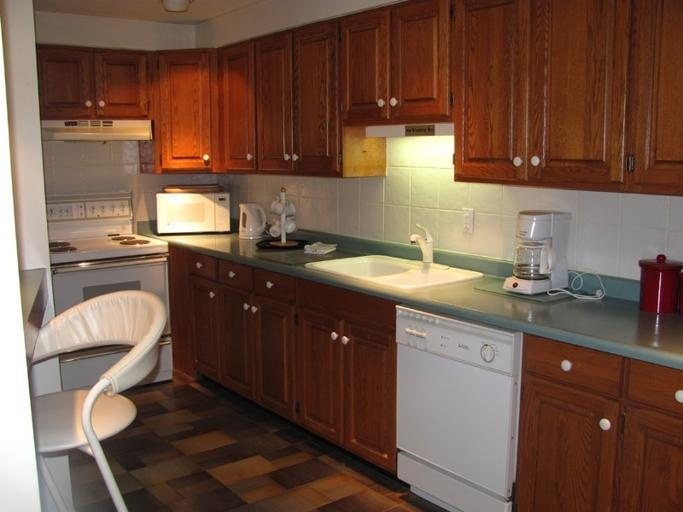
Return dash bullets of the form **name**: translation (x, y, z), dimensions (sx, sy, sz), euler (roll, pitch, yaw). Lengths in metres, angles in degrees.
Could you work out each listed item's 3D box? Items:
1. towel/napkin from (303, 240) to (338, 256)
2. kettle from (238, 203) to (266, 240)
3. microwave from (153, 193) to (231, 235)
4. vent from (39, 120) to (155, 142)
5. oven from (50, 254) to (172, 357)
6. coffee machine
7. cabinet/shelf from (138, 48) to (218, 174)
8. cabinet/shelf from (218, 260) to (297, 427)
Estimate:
- **towel/napkin**: translation (-0.144, -0.053, 3.681), dimensions (0.200, 0.055, 0.332), euler (3, 11, 16)
- **kettle**: translation (-0.697, -0.262, 4.195), dimensions (0.289, 0.285, 0.199), euler (7, 10, 28)
- **microwave**: translation (-1.236, -0.284, 4.560), dimensions (0.595, 0.365, 0.421), euler (-1, -16, -13)
- **vent**: translation (-1.844, -0.963, 4.121), dimensions (0.770, 0.160, 0.171), euler (-6, 12, -27)
- **oven**: translation (-1.630, 0.489, 4.087), dimensions (0.953, 0.940, 0.623), euler (-4, 5, -39)
- **coffee machine**: translation (0.938, -0.021, 2.563), dimensions (0.309, 0.381, 0.255), euler (2, 11, 15)
- **cabinet/shelf**: translation (-1.150, -1.126, 4.466), dimensions (0.674, 1.046, 0.613), euler (-1, 0, -3)
- **cabinet/shelf**: translation (-0.430, 0.512, 3.647), dimensions (0.518, 1.007, 0.872), euler (-4, 8, -42)
